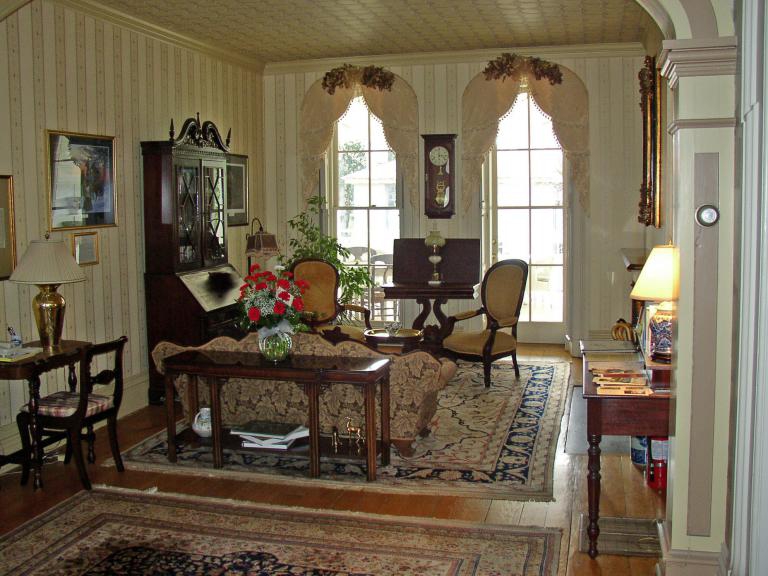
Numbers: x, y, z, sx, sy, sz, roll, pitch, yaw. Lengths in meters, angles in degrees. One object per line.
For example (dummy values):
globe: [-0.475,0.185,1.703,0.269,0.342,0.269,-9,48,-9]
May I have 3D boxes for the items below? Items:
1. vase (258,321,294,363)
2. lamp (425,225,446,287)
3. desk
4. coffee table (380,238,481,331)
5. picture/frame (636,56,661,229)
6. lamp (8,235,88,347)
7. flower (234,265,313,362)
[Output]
vase: [-0.851,0.413,4.894,0.280,0.314,0.301,-2,0,35]
lamp: [0.662,-0.409,8.200,0.273,0.670,0.461,0,8,4]
desk: [1.592,1.099,4.026,0.417,0.611,1.199,0,7,10]
coffee table: [0.653,-0.225,8.322,1.455,1.769,1.094,1,0,13]
picture/frame: [2.825,-1.562,6.606,0.189,1.813,1.188,2,9,19]
lamp: [-2.770,0.028,5.073,0.504,0.887,0.646,-7,11,-39]
flower: [-0.875,0.213,5.117,0.633,0.807,0.645,1,2,-3]
